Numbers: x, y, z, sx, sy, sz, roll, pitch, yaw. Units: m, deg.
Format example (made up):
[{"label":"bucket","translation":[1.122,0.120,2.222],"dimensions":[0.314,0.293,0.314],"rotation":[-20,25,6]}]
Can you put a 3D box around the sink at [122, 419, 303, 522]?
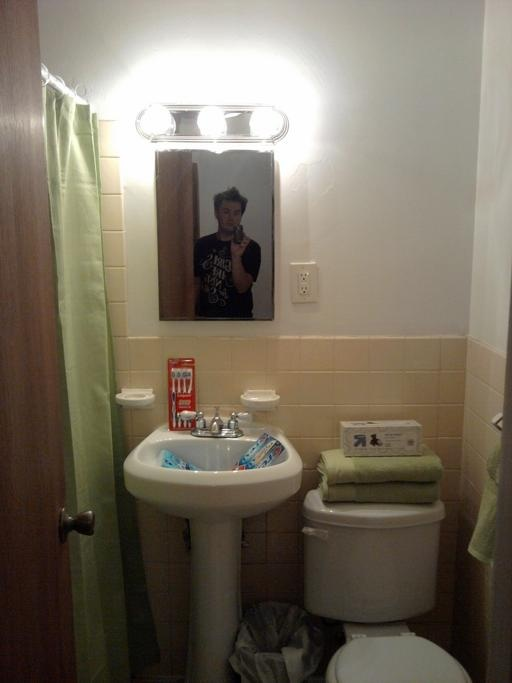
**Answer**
[{"label":"sink","translation":[-0.126,0.340,1.579],"dimensions":[0.294,0.181,0.430],"rotation":[0,1,0]}]

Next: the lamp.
[{"label":"lamp","translation":[-0.133,-0.640,1.682],"dimensions":[0.454,0.127,0.088],"rotation":[-3,8,-2]}]

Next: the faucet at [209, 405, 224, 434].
[{"label":"faucet","translation":[-0.118,0.248,1.738],"dimensions":[0.030,0.064,0.084],"rotation":[1,8,1]}]

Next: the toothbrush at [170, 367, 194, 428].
[{"label":"toothbrush","translation":[-0.236,0.171,1.781],"dimensions":[0.092,0.201,0.114],"rotation":[-3,8,-4]}]

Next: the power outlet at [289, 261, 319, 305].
[{"label":"power outlet","translation":[0.150,-0.190,1.793],"dimensions":[0.109,0.175,0.023],"rotation":[0,2,-1]}]
